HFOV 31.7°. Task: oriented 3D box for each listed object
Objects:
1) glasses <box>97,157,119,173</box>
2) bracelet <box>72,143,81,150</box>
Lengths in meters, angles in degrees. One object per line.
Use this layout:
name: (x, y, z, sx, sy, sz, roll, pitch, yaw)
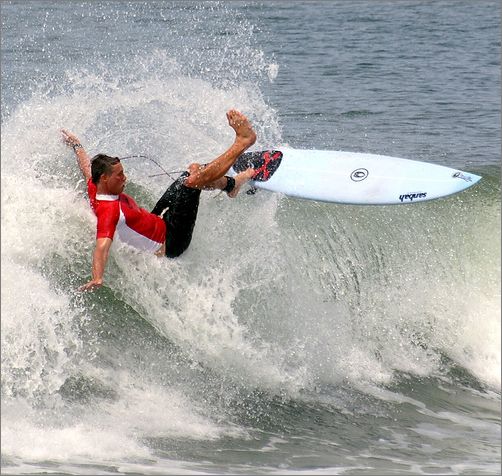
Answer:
glasses: (-1.538, -0.793, 9.603, 0.236, 0.182, 0.155, 5, 25, 5)
bracelet: (-2.134, -1.107, 10.782, 0.114, 0.045, 0.116, -23, 24, -12)
